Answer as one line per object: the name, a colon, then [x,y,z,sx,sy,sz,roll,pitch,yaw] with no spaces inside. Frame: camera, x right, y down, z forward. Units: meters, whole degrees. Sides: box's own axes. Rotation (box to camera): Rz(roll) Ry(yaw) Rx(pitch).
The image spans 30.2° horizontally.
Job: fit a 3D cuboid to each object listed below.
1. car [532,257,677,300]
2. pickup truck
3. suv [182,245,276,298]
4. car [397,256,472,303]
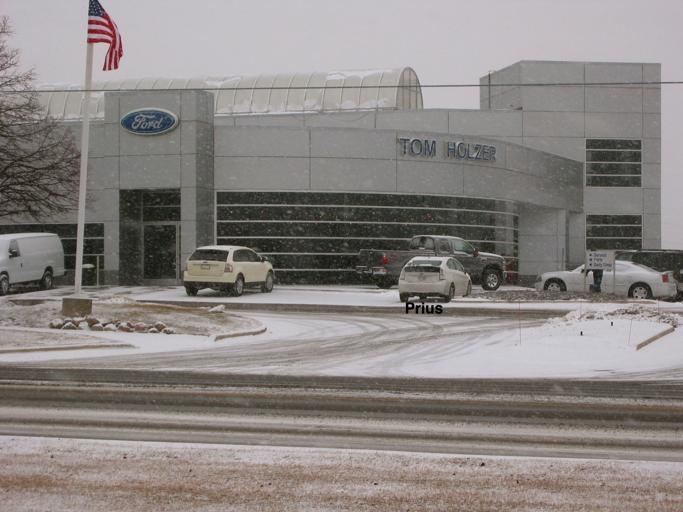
car: [9.367,0.908,44.816,4.357,1.472,1.957,2,-1,21]
pickup truck: [3.706,0.153,46.995,5.155,1.866,2.582,-1,9,-16]
suv: [-3.780,0.494,44.670,2.016,2.188,3.925,8,14,33]
car: [3.096,0.755,41.731,1.817,1.696,2.237,-1,-1,15]
